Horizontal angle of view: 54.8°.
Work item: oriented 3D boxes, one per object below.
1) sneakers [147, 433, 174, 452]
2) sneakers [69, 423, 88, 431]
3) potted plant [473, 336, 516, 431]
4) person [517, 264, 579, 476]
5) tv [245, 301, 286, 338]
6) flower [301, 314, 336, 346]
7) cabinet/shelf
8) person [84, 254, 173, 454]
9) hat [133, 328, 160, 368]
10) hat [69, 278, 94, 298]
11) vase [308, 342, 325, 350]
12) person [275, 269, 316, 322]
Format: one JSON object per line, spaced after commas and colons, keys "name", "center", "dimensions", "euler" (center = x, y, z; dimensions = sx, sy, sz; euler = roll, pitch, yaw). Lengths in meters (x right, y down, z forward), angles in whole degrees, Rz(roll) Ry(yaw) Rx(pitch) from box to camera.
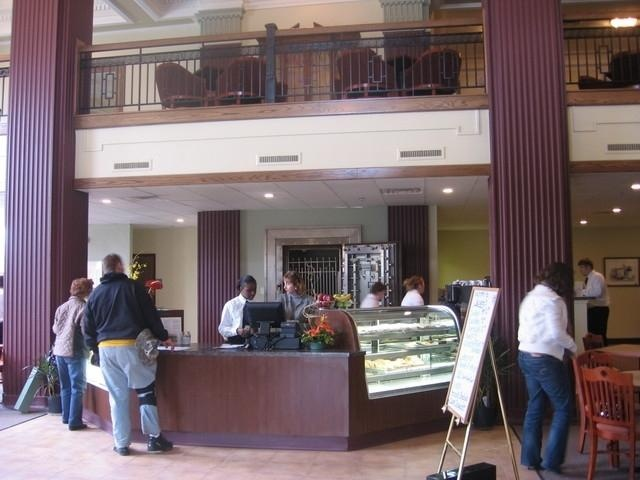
{"name": "sneakers", "center": [-1.817, 2.284, 7.007], "dimensions": [0.293, 0.182, 0.147], "euler": [3, -4, -33]}
{"name": "sneakers", "center": [-3.038, 2.307, 7.723], "dimensions": [0.268, 0.118, 0.091], "euler": [2, -3, -22]}
{"name": "potted plant", "center": [2.222, 1.826, 7.893], "dimensions": [0.743, 1.094, 0.280], "euler": [-6, 8, -43]}
{"name": "person", "center": [2.331, 1.319, 6.349], "dimensions": [0.549, 2.128, 0.391], "euler": [2, 6, 19]}
{"name": "tv", "center": [-0.618, 0.880, 7.042], "dimensions": [0.455, 0.335, 0.207], "euler": [-2, 0, 15]}
{"name": "flower", "center": [-0.012, 1.038, 6.985], "dimensions": [0.354, 0.343, 0.353], "euler": [0, 9, -5]}
{"name": "cabinet/shelf", "center": [0.716, 1.310, 7.520], "dimensions": [1.861, 1.129, 0.688], "euler": [3, -1, -41]}
{"name": "person", "center": [-2.195, 1.267, 6.924], "dimensions": [0.869, 2.173, 0.430], "euler": [2, 7, 26]}
{"name": "hat", "center": [-1.927, 1.194, 6.834], "dimensions": [0.257, 0.422, 0.121], "euler": [-2, 6, -16]}
{"name": "hat", "center": [-3.086, 0.584, 8.016], "dimensions": [0.258, 0.249, 0.258], "euler": [2, 3, 17]}
{"name": "vase", "center": [-0.030, 1.193, 6.989], "dimensions": [0.173, 0.104, 0.162], "euler": [-1, 6, -7]}
{"name": "person", "center": [-0.364, 0.751, 8.490], "dimensions": [0.614, 0.888, 0.346], "euler": [-6, -13, 18]}
